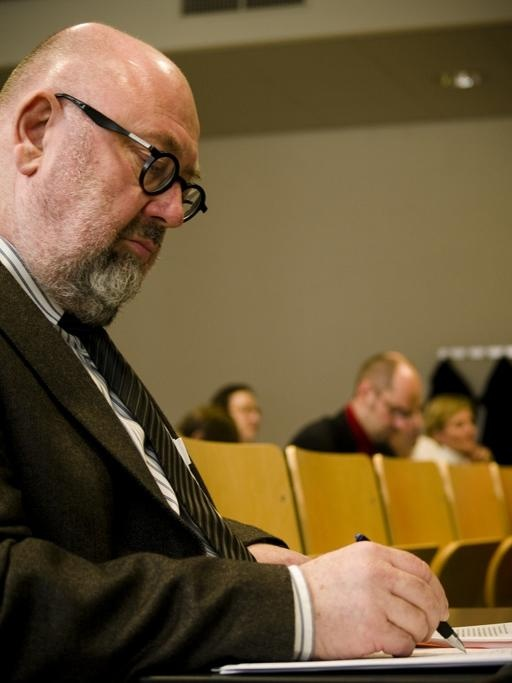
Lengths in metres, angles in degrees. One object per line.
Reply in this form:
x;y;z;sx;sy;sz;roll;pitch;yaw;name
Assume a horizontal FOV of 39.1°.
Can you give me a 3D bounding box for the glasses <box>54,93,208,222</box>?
-0.155;-0.225;0.811;0.041;0.142;0.137;-53;-18;-4;glasses
